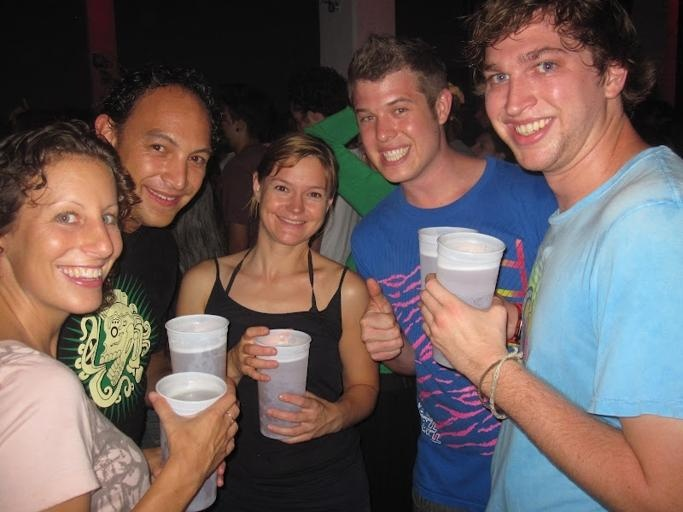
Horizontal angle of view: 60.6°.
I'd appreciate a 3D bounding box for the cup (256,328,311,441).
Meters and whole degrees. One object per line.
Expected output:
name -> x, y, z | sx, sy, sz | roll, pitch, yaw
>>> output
cup -> -0.285, 0.631, 2.879 | 0.242, 0.533, 0.244 | -1, 12, 0
